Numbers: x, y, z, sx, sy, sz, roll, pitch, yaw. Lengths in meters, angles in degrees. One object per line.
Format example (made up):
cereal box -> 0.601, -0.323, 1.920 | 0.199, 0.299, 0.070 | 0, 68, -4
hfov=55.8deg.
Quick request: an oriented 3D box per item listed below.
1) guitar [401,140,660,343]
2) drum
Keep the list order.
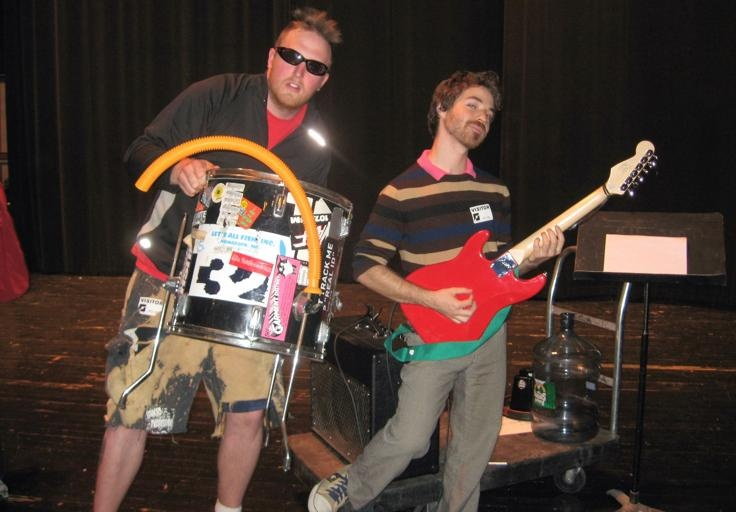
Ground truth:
guitar -> 1.205, -0.110, 4.870 | 1.956, 0.655, 0.263 | -39, -1, -1
drum -> -0.599, 0.046, 3.737 | 0.807, 0.870, 0.829 | 7, -6, 10
